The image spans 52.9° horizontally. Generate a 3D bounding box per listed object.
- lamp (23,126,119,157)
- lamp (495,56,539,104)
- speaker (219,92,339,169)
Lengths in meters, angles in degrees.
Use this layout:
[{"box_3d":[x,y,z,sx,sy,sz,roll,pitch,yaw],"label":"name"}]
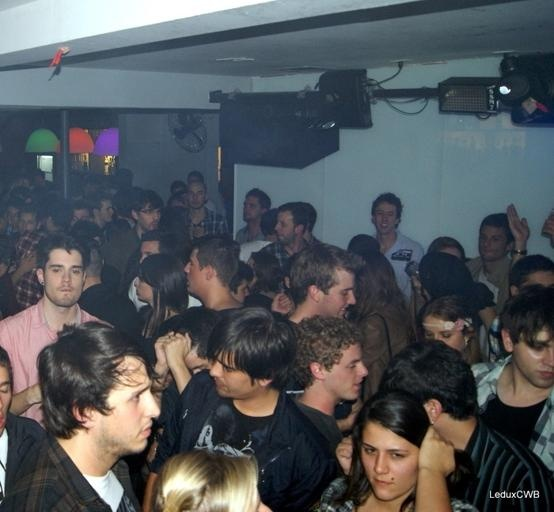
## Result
[{"box_3d":[-3.238,-1.881,8.877,1.185,0.569,1.510,0,3,-3],"label":"lamp"},{"box_3d":[1.846,-1.360,4.320,0.245,0.353,0.124,-12,2,37],"label":"lamp"},{"box_3d":[-0.104,-1.355,5.992,1.222,0.713,0.458,5,17,27],"label":"speaker"}]
